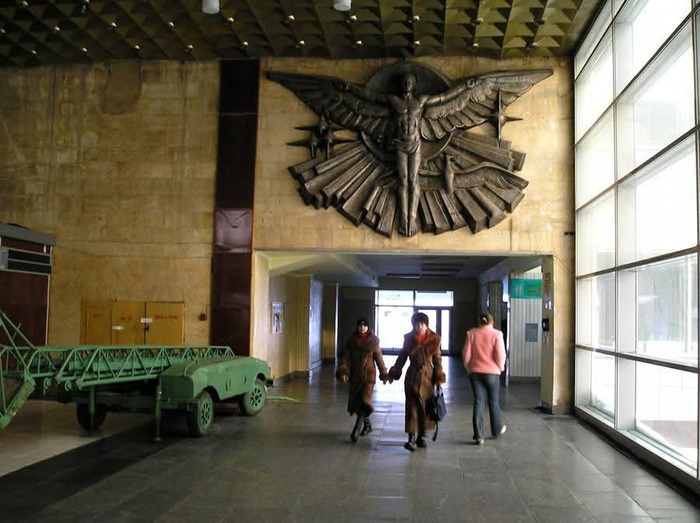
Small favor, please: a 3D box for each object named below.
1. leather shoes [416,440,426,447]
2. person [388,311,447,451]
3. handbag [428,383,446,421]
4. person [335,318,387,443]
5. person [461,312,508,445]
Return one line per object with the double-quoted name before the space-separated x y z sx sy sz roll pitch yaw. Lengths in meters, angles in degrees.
"leather shoes" 1.062 2.696 8.873 0.110 0.116 0.118 -1 -4 -7
"person" 0.982 1.740 8.738 0.714 1.964 0.438 1 -1 -1
"handbag" 1.310 2.072 8.792 0.235 0.552 0.585 3 1 19
"person" 0.193 1.833 9.612 0.775 1.879 1.494 1 -1 2
"person" 2.046 1.787 9.240 0.605 1.970 0.514 1 -1 12
